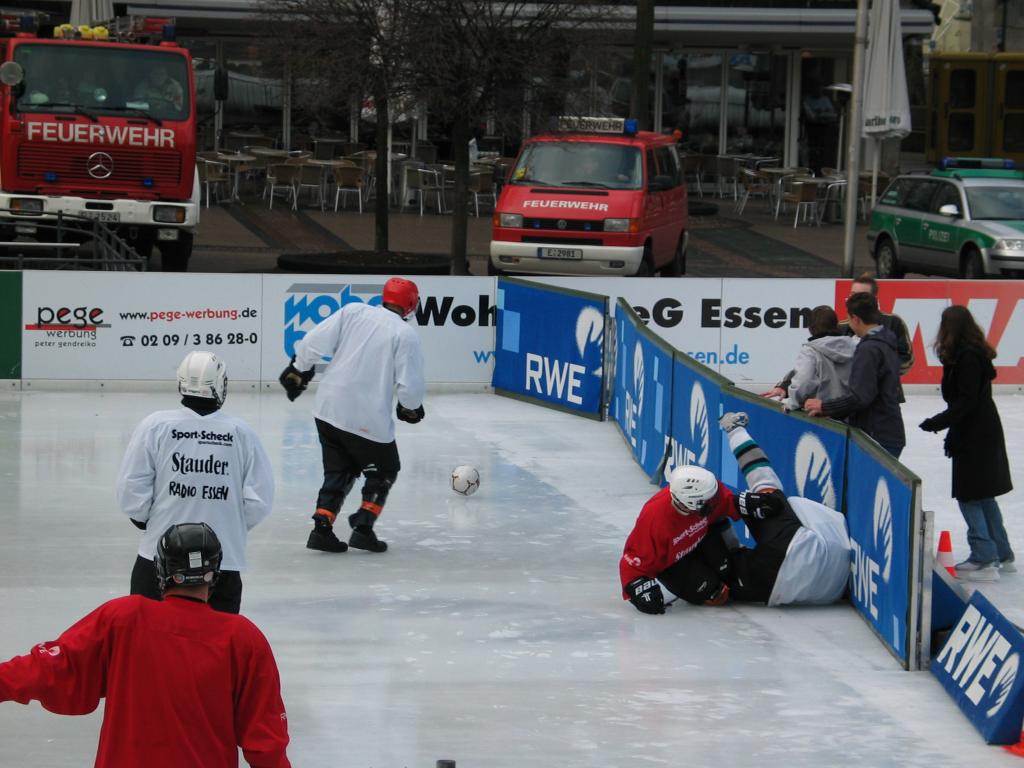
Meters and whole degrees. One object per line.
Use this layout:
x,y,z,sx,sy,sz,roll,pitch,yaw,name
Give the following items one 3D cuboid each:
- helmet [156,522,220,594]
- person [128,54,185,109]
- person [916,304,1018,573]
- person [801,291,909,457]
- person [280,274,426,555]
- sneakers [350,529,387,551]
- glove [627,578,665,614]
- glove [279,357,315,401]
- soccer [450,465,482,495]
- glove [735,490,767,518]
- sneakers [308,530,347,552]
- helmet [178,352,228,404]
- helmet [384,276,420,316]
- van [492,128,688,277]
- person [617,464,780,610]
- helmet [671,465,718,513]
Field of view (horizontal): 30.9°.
-2.062,1.074,11.760,0.326,0.413,0.434,0,12,-16,helmet
-4.828,-4.124,25.429,0.692,0.757,0.173,5,-3,-17,person
4.116,0.500,16.609,0.851,2.344,0.578,5,15,17,person
3.160,-0.037,16.815,0.796,1.464,1.000,6,16,20,person
-1.420,0.320,16.974,1.164,2.404,0.694,-1,14,-9,person
-1.332,1.443,16.995,0.393,0.204,0.145,7,11,-26,sneakers
1.139,1.777,15.805,0.365,0.320,0.255,1,15,0,glove
-1.970,-0.019,17.101,0.279,0.418,0.174,28,6,22,glove
-0.483,0.966,18.743,0.257,0.282,0.263,3,3,-25,soccer
2.008,1.001,15.745,0.227,0.244,0.185,4,2,9,glove
-1.651,1.427,16.900,0.439,0.219,0.150,2,5,-26,sneakers
-2.284,-0.082,13.570,0.287,0.369,0.382,3,18,1,helmet
-1.066,-0.828,17.129,0.289,0.370,0.381,12,5,20,helmet
1.143,-2.755,28.208,2.557,2.342,2.768,5,16,14,van
1.532,1.297,15.722,1.223,1.293,0.558,2,14,2,person
1.515,0.827,15.494,0.375,0.377,0.312,-4,35,3,helmet
